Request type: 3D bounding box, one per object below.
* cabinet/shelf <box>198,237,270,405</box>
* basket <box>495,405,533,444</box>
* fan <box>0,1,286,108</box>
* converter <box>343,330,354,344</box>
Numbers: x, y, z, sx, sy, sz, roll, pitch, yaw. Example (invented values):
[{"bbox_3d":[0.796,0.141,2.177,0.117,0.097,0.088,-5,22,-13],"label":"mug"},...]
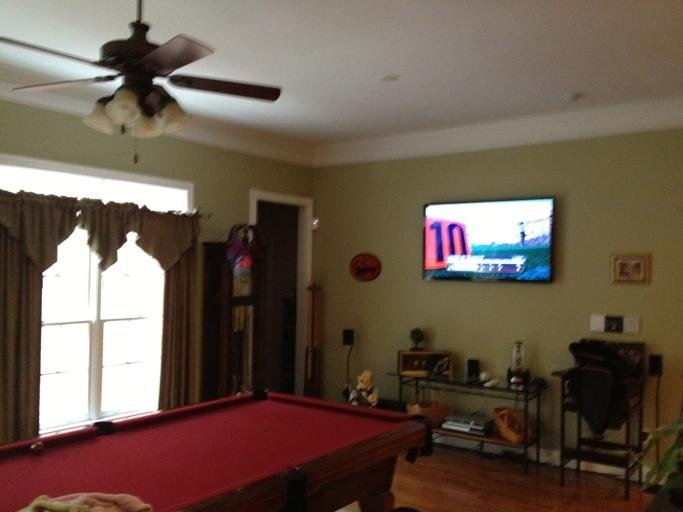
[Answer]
[{"bbox_3d":[-1.041,0.632,5.718,0.592,1.523,0.486,0,5,-14],"label":"cabinet/shelf"},{"bbox_3d":[1.582,1.533,5.542,0.275,0.287,0.528,1,5,-8],"label":"basket"},{"bbox_3d":[-0.994,-1.041,3.193,0.893,0.281,0.836,1,-1,-30],"label":"fan"},{"bbox_3d":[0.073,0.909,6.621,0.145,0.137,0.036,-6,3,12],"label":"converter"}]
